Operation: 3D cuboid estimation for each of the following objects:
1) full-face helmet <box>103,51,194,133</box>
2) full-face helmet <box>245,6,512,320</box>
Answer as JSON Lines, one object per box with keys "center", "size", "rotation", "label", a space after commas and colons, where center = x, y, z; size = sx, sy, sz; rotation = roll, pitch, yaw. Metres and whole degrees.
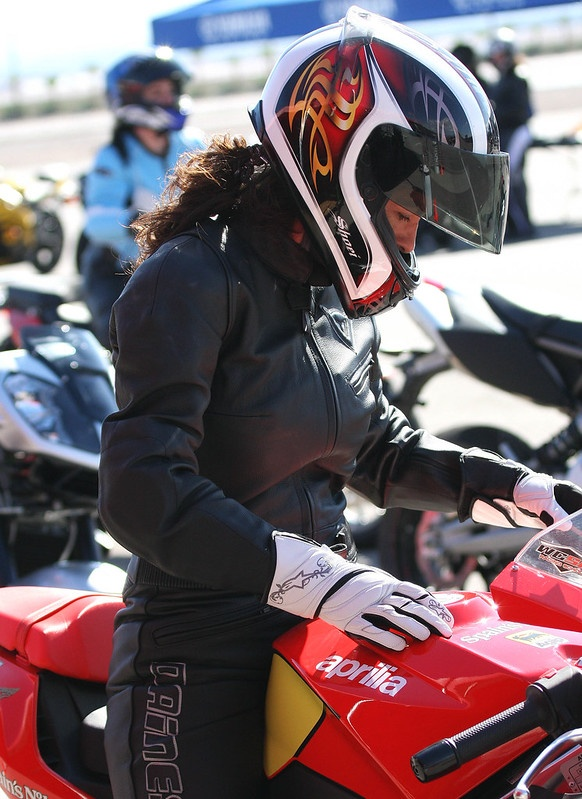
{"center": [-0.810, -1.656, 4.861], "size": [0.513, 0.356, 0.337], "rotation": [1, 17, 1], "label": "full-face helmet"}
{"center": [0.171, -0.445, 1.678], "size": [0.601, 0.486, 0.416], "rotation": [16, 21, 5], "label": "full-face helmet"}
